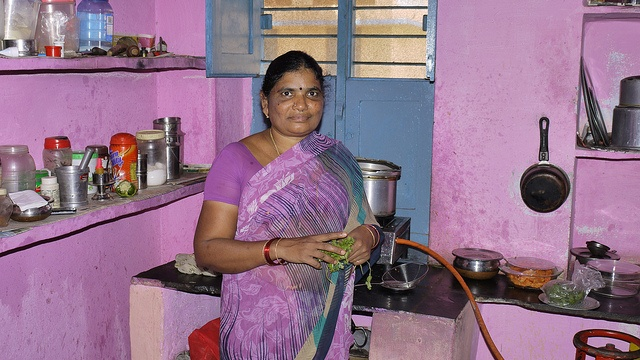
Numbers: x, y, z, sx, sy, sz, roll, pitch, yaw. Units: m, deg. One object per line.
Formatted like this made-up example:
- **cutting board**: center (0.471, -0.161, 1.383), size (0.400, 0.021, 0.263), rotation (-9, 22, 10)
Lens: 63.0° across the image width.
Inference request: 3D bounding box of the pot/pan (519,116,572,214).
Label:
- **pot/pan**: center (1.552, -0.103, 3.605), size (0.378, 0.609, 0.097), rotation (1, 6, 8)

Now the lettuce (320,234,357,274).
- **lettuce**: center (0.098, 0.382, 2.696), size (0.164, 0.186, 0.087), rotation (-1, -1, 19)

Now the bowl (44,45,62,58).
- **bowl**: center (-1.417, -0.677, 2.764), size (0.075, 0.046, 0.070), rotation (1, 0, 0)

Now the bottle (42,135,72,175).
- **bottle**: center (-1.498, -0.138, 3.007), size (0.145, 0.210, 0.240), rotation (-5, 9, -36)

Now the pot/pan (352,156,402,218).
- **pot/pan**: center (0.422, 0.047, 3.789), size (0.421, 0.352, 0.392), rotation (0, 7, -1)

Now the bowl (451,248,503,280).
- **bowl**: center (1.082, 0.582, 3.597), size (0.322, 0.172, 0.265), rotation (3, 7, 20)

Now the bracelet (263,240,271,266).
- **bracelet**: center (-0.253, 0.352, 2.527), size (0.042, 0.118, 0.029), rotation (0, 7, -6)

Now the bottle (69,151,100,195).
- **bottle**: center (-1.375, -0.035, 3.068), size (0.138, 0.260, 0.255), rotation (-3, 8, -24)

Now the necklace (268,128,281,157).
- **necklace**: center (-0.241, -0.194, 2.776), size (0.083, 0.125, 0.024), rotation (-6, 2, 4)

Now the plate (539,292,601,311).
- **plate**: center (1.565, 0.770, 3.266), size (0.362, 0.052, 0.203), rotation (2, 7, 8)

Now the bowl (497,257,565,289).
- **bowl**: center (1.378, 0.582, 3.463), size (0.255, 0.087, 0.248), rotation (0, 4, 0)

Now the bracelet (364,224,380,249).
- **bracelet**: center (0.295, 0.307, 2.842), size (0.113, 0.119, 0.053), rotation (1, -12, -39)

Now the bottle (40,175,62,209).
- **bottle**: center (-1.469, 0.072, 2.838), size (0.094, 0.169, 0.100), rotation (1, 7, 0)
